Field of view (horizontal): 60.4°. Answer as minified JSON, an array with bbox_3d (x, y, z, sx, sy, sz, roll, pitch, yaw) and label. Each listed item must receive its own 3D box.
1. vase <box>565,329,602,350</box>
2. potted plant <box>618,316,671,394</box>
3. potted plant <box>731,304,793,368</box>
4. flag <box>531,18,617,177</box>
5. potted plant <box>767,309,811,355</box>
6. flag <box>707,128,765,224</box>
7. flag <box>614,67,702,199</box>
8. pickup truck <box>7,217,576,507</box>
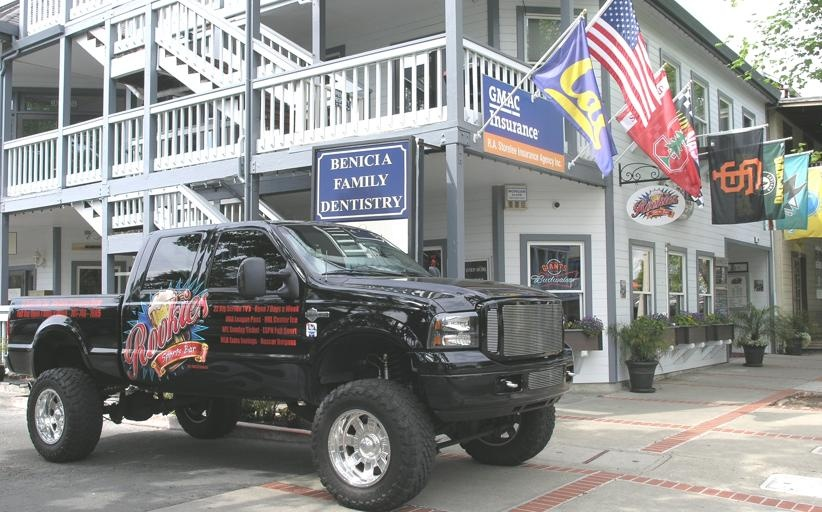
[{"bbox_3d":[3.737,1.844,15.221,0.914,0.385,0.451,1,-4,-1],"label":"vase"},{"bbox_3d":[5.090,2.182,15.480,0.957,1.528,0.654,0,2,-9],"label":"potted plant"},{"bbox_3d":[10.109,2.264,20.476,1.178,1.666,1.854,1,2,33],"label":"potted plant"},{"bbox_3d":[3.027,-2.978,12.903,1.362,2.964,0.493,0,2,13],"label":"flag"},{"bbox_3d":[11.771,2.450,22.925,1.382,1.419,1.450,1,-4,-12],"label":"potted plant"},{"bbox_3d":[7.891,-1.956,17.123,1.275,2.288,0.577,1,2,24],"label":"flag"},{"bbox_3d":[5.362,-2.627,15.523,3.600,3.508,0.304,13,-16,-40],"label":"flag"},{"bbox_3d":[-1.878,1.243,9.675,6.742,2.509,3.722,-3,-6,33],"label":"pickup truck"}]
